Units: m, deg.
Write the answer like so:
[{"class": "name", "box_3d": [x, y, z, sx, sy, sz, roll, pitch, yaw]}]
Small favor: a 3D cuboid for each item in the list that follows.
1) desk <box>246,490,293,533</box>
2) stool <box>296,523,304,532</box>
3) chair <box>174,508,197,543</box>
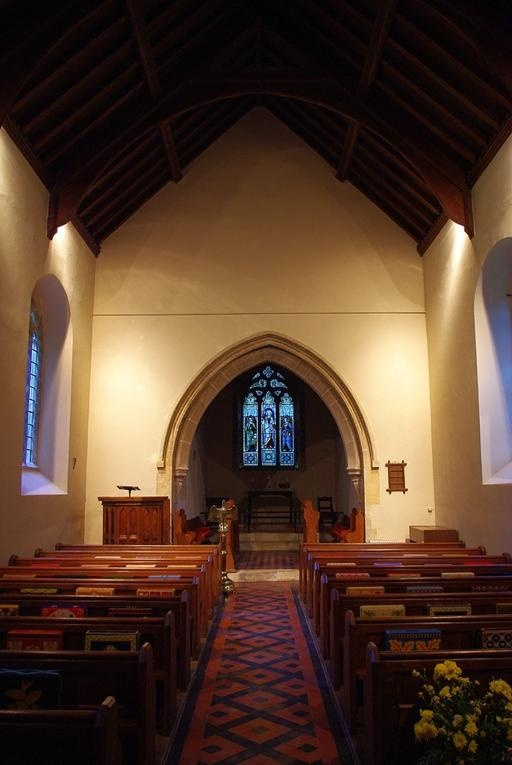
[{"class": "desk", "box_3d": [0.437, 3.190, 15.776, 1.192, 0.864, 1.532, 0, -10, 3]}, {"class": "stool", "box_3d": [1.055, 3.473, 14.814, 0.191, 0.201, 0.800, 0, -10, 7]}, {"class": "chair", "box_3d": [-1.056, 2.118, 9.020, 0.319, 0.501, 0.836, 2, -10, -7]}]
